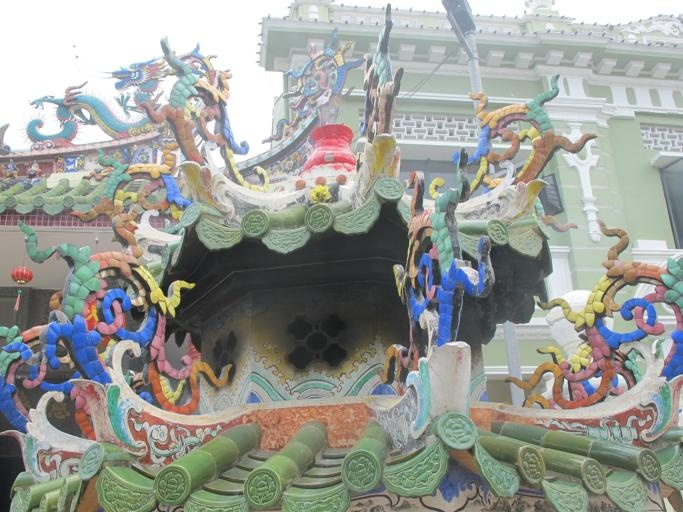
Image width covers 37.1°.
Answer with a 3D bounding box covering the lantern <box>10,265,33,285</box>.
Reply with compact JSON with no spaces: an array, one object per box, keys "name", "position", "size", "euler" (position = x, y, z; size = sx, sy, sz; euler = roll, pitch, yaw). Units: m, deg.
[{"name":"lantern","position":[-6.867,0.333,21.815],"size":[0.378,0.406,0.682],"euler":[5,-16,-15]}]
